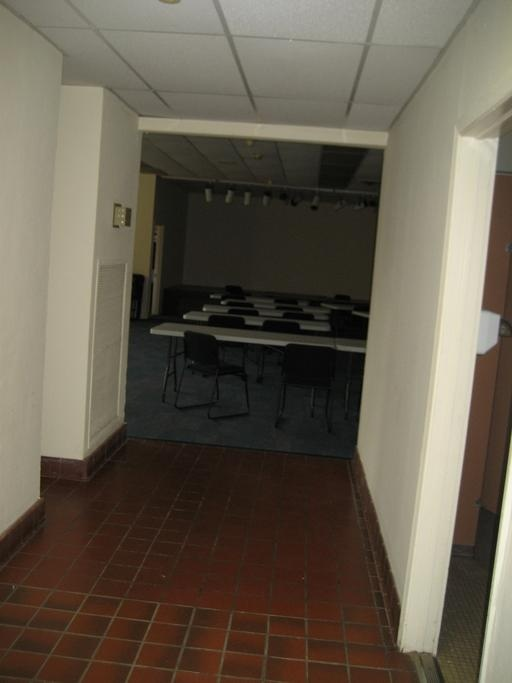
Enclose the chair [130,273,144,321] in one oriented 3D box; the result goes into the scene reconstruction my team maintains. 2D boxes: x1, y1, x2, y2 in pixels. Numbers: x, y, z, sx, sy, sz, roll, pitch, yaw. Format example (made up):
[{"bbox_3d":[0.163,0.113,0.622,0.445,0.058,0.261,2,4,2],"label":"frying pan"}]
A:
[{"bbox_3d":[-2.692,-0.992,11.444,0.258,0.997,0.388,4,5,-12],"label":"chair"}]
